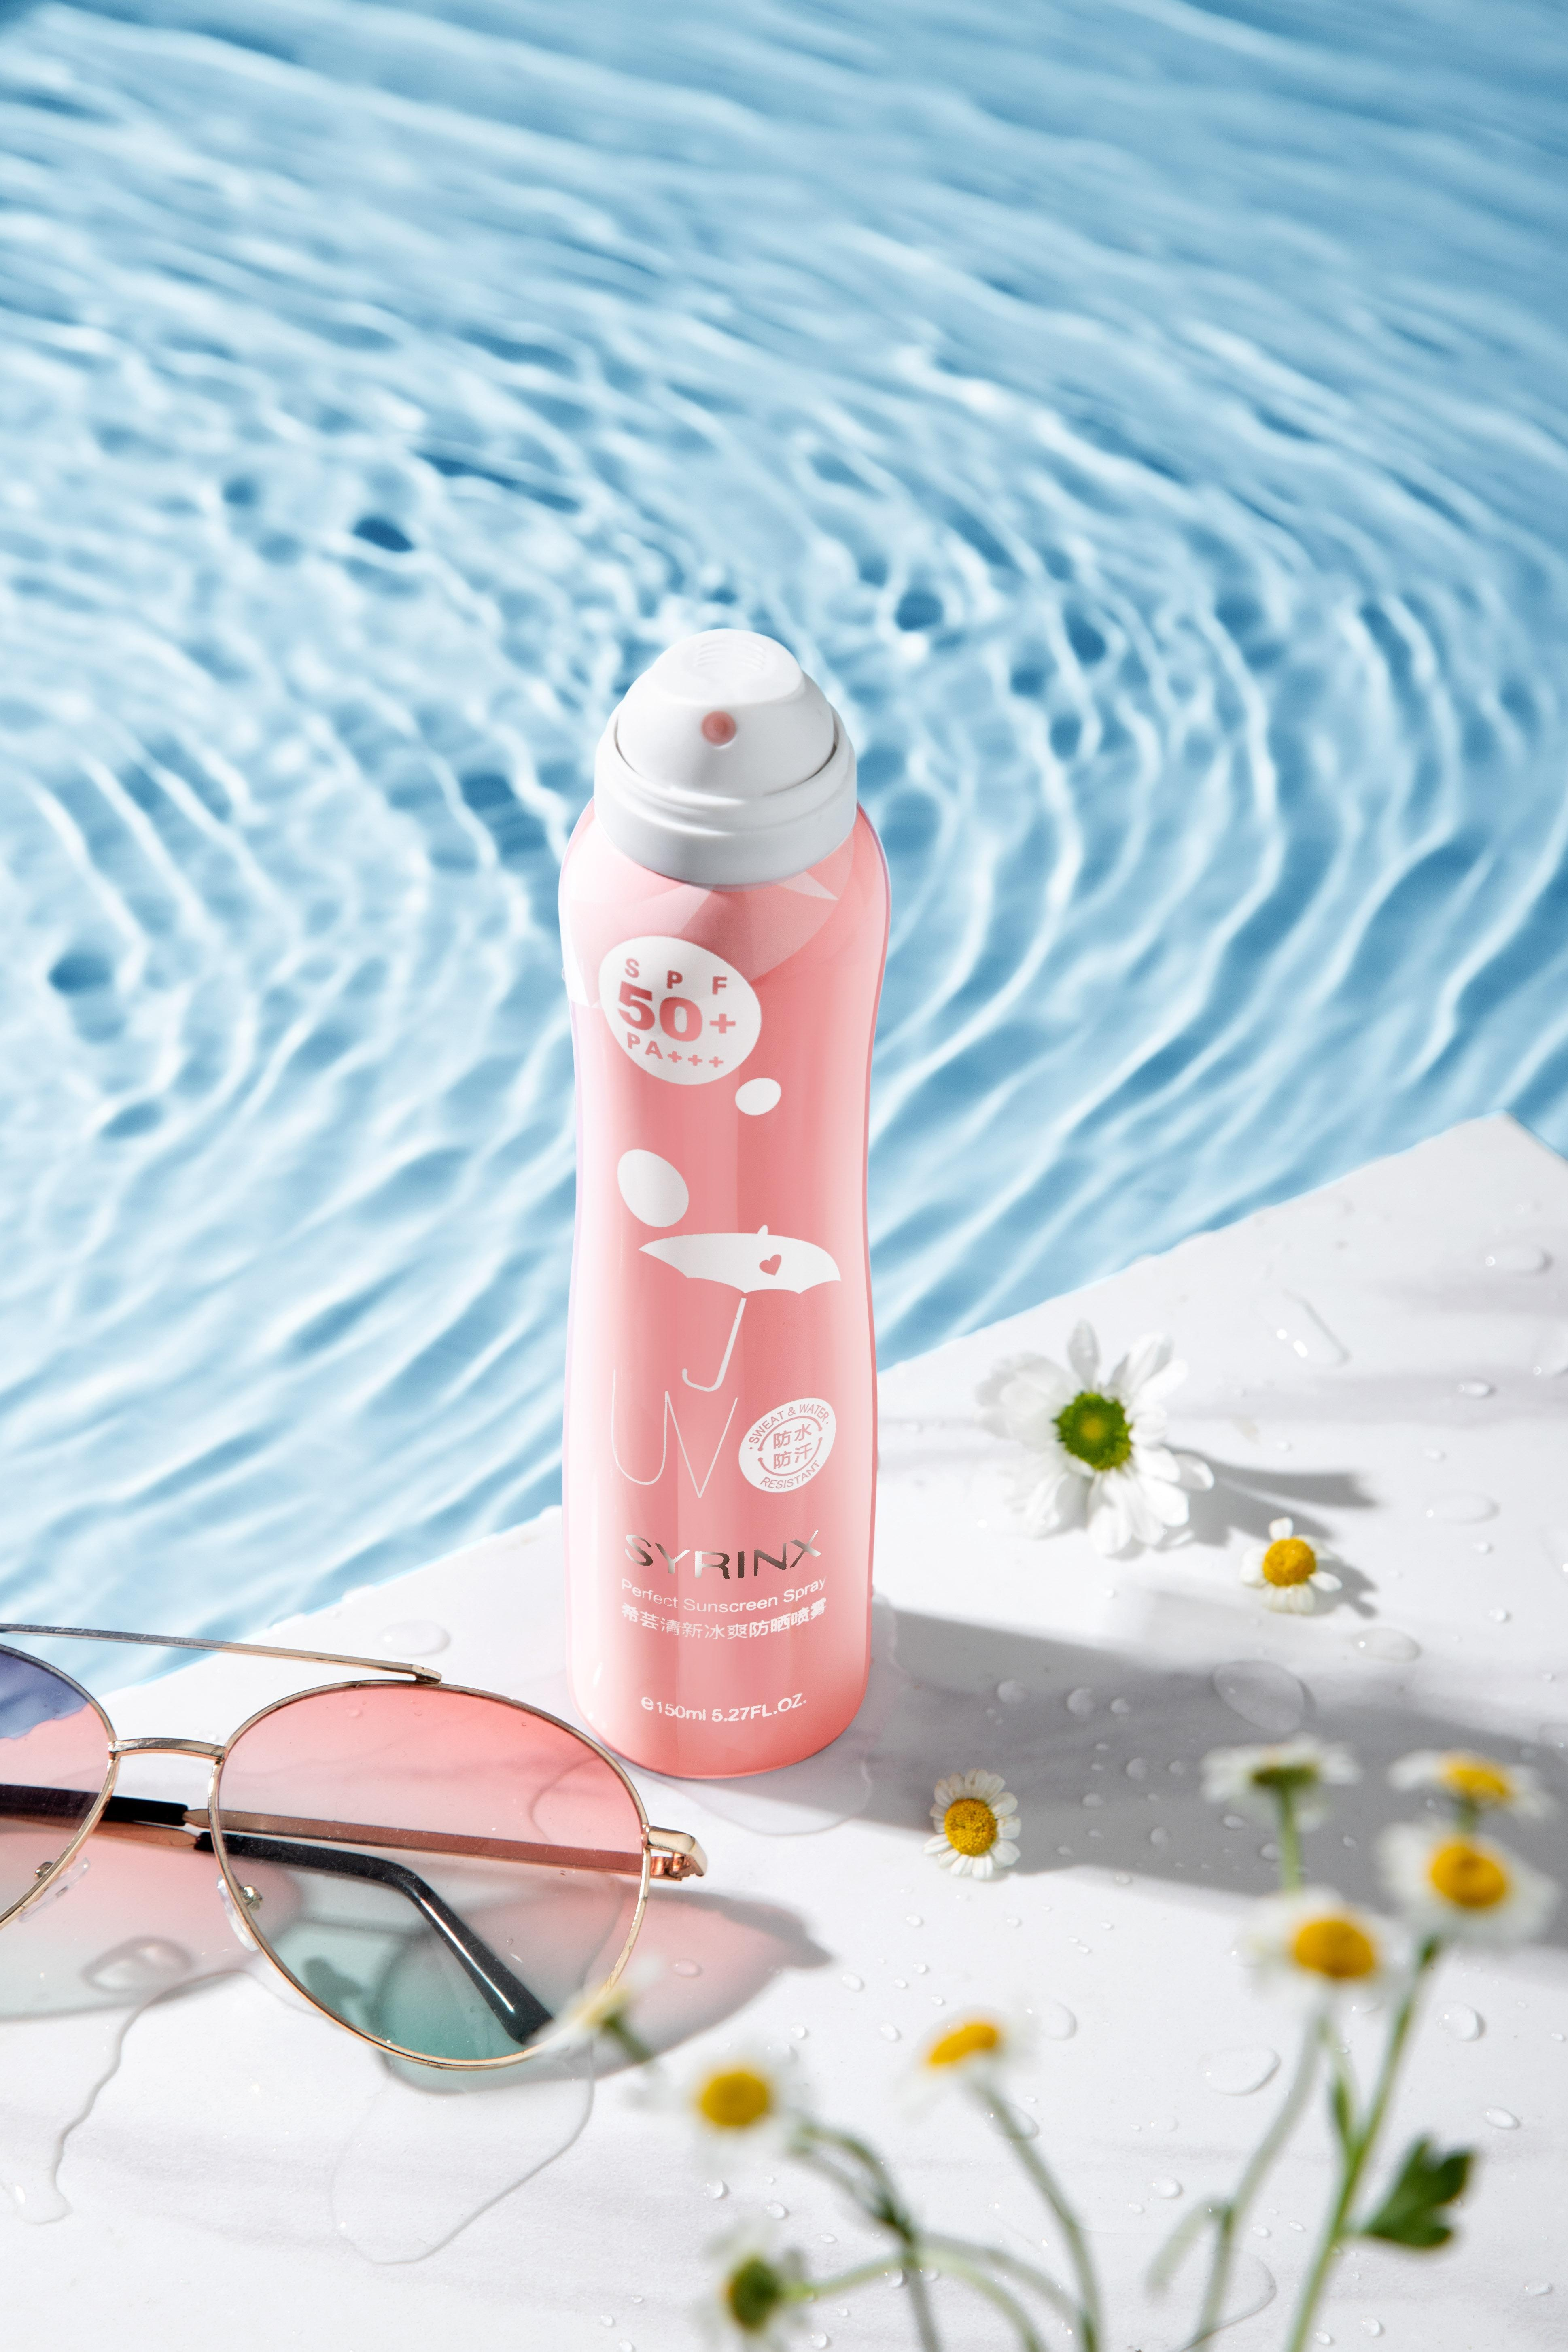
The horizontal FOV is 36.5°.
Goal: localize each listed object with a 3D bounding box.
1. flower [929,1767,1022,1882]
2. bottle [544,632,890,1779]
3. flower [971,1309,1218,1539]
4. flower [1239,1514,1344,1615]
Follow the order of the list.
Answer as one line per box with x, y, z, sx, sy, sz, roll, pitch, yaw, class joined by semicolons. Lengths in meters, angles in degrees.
0.044;0.151;0.555;0.021;0.010;0.025;5;33;6;flower
-0.015;0.021;0.509;0.068;0.277;0.049;0;35;-1;bottle
0.080;0.067;0.632;0.060;0.021;0.054;-8;73;10;flower
0.131;0.100;0.611;0.025;0.015;0.022;3;33;3;flower
